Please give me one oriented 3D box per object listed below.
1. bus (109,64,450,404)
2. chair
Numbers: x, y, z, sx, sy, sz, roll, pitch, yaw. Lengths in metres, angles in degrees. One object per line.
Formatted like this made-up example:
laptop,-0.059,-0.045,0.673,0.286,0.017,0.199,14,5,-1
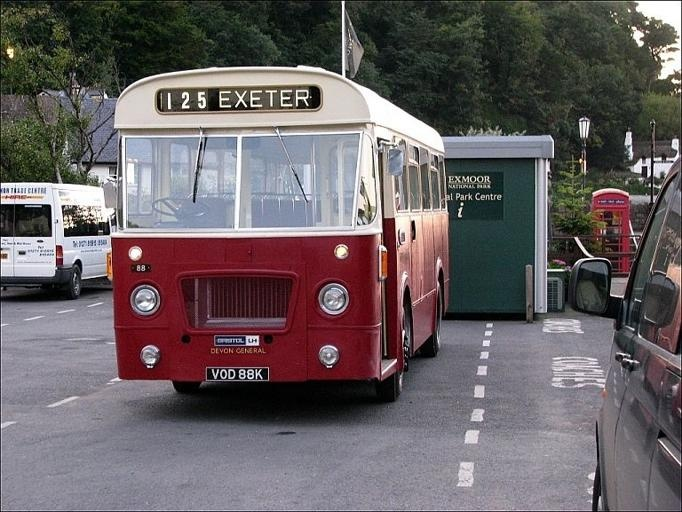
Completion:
bus,-0.231,-0.255,11.029,2.131,2.959,5.804,0,0,13
chair,-0.834,-0.513,8.547,1.926,0.354,0.232,-1,2,-1
